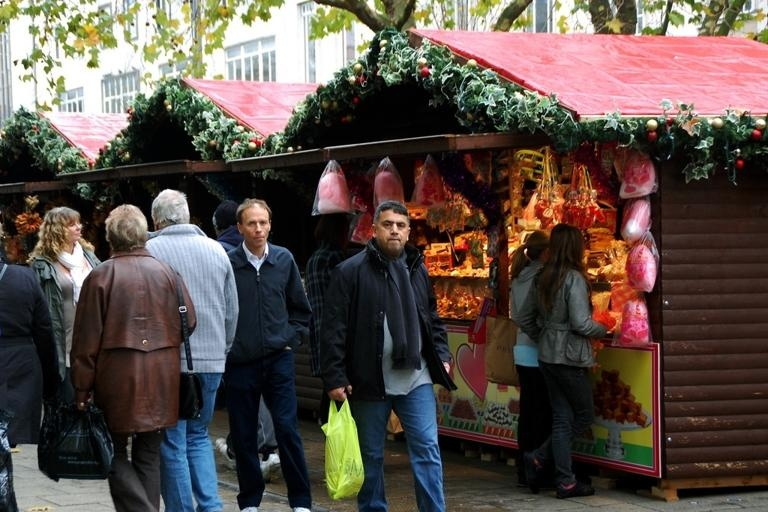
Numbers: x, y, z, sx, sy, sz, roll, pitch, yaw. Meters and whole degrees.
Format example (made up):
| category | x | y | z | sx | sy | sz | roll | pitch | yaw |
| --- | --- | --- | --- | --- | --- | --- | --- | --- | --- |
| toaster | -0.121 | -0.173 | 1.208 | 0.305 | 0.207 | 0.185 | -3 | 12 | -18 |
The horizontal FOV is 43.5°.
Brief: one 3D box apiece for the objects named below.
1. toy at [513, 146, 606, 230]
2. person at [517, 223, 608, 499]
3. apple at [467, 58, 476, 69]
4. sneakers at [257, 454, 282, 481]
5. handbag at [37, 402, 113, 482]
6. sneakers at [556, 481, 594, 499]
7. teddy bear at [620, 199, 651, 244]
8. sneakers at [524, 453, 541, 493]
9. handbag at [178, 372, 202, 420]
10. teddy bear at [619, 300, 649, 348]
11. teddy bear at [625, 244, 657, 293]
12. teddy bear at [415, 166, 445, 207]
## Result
| category | x | y | z | sx | sy | sz | roll | pitch | yaw |
| --- | --- | --- | --- | --- | --- | --- | --- | --- | --- |
| toy | 1.770 | -0.693 | 9.796 | 0.879 | 0.841 | 0.513 | 0 | 3 | 9 |
| person | 1.693 | 0.972 | 9.020 | 0.740 | 2.539 | 0.347 | 0 | 3 | 8 |
| apple | 0.839 | -1.830 | 9.158 | 0.077 | 0.077 | 0.080 | -4 | 8 | 30 |
| sneakers | -1.111 | 2.068 | 9.474 | 0.156 | 0.203 | 0.430 | -18 | -18 | -28 |
| handbag | -2.379 | 1.429 | 7.438 | 0.706 | 0.700 | 0.301 | 0 | -9 | 4 |
| sneakers | 1.783 | 2.187 | 9.050 | 0.376 | 0.141 | 0.142 | -3 | 2 | -15 |
| teddy bear | 2.330 | -0.323 | 8.895 | 0.241 | 0.416 | 0.183 | 1 | 3 | 15 |
| sneakers | 1.397 | 2.029 | 9.095 | 0.187 | 0.396 | 0.139 | -3 | 7 | 7 |
| handbag | -1.566 | 1.111 | 7.686 | 0.186 | 0.366 | 0.408 | -2 | 4 | -30 |
| teddy bear | 2.342 | 0.617 | 8.994 | 0.294 | 0.434 | 0.142 | 0 | 3 | 12 |
| teddy bear | 2.383 | 0.110 | 8.822 | 0.284 | 0.419 | 0.130 | 1 | -1 | -2 |
| teddy bear | 0.499 | -0.756 | 10.369 | 0.404 | 0.502 | 0.384 | -1 | 0 | -10 |
